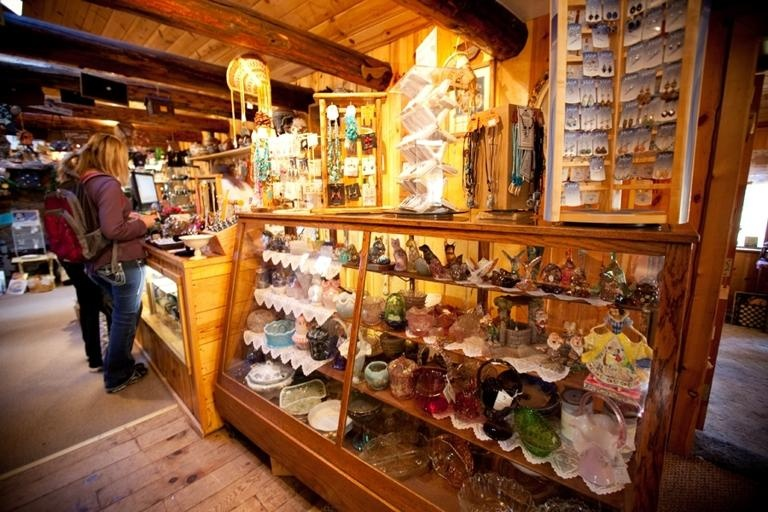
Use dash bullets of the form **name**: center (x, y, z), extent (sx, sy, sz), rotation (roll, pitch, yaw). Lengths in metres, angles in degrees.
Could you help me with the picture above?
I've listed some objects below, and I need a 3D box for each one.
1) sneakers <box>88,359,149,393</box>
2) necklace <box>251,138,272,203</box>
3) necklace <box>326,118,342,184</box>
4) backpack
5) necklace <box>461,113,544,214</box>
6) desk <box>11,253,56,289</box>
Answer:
- **sneakers**: center (-2.868, 1.325, 5.266), extent (0.237, 0.285, 0.679), rotation (10, 19, 20)
- **necklace**: center (-1.220, -0.835, 4.753), extent (0.175, 0.664, 0.241), rotation (-1, 9, -14)
- **necklace**: center (-0.509, -1.060, 4.858), extent (0.151, 0.641, 0.134), rotation (1, 9, -7)
- **backpack**: center (-3.094, -0.373, 4.780), extent (0.645, 0.885, 0.494), rotation (9, 15, 24)
- **necklace**: center (0.983, -0.806, 3.908), extent (0.663, 0.840, 0.276), rotation (6, 10, 25)
- **desk**: center (-6.319, 0.243, 8.641), extent (0.703, 0.728, 0.810), rotation (-11, 22, -36)
